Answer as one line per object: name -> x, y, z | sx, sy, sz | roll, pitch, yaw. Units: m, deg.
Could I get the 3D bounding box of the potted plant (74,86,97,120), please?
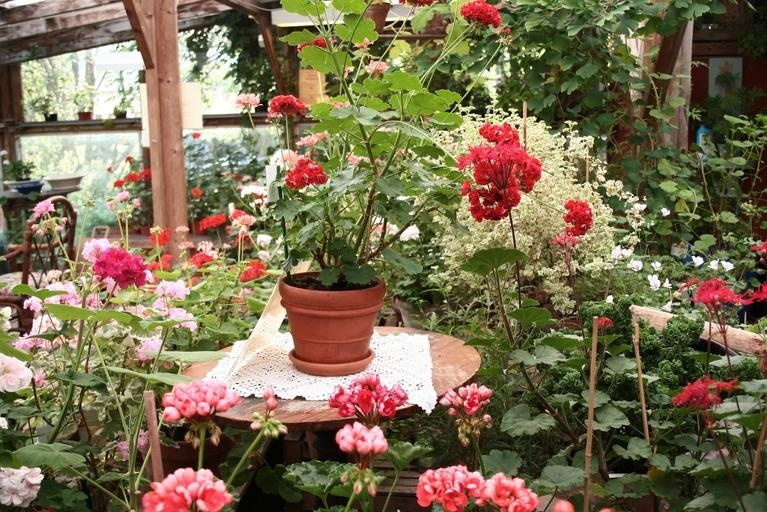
potted plant -> -2.443, -1.248, 4.991 | 0.092, 0.275, 0.229 | 2, 12, 12

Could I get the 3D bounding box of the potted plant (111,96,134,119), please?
potted plant -> -2.270, -1.301, 5.358 | 0.178, 0.184, 0.143 | 30, 31, 15

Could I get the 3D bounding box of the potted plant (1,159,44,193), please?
potted plant -> -2.814, -0.621, 4.728 | 0.232, 0.149, 0.222 | 1, 8, -6

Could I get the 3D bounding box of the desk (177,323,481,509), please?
desk -> -0.118, 0.666, 2.146 | 0.981, 0.626, 0.606 | -6, 13, -25

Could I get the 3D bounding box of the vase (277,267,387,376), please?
vase -> -0.165, 0.193, 2.114 | 0.344, 0.256, 0.337 | -5, 12, -34
